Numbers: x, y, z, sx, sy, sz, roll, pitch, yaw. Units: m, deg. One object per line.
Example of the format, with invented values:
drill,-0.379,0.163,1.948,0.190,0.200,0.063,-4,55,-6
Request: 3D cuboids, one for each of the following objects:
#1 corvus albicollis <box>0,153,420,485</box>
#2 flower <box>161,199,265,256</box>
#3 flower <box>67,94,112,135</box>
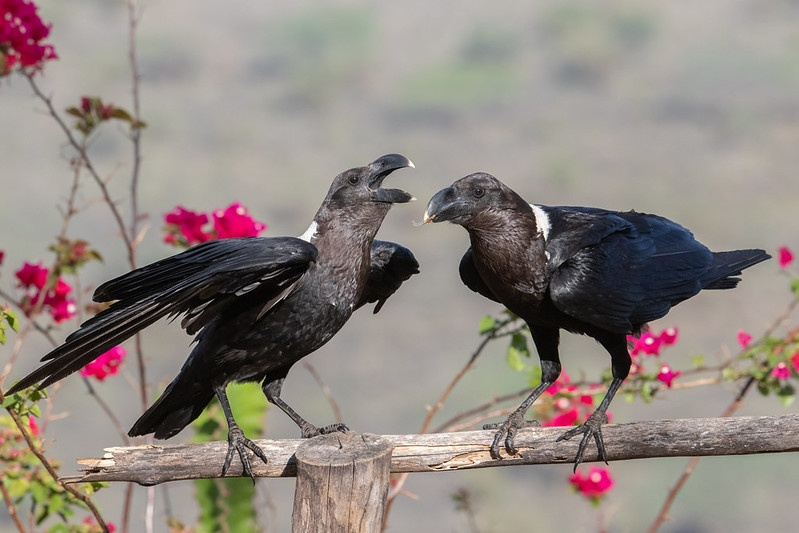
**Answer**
corvus albicollis,-0.760,0.231,5.704,1.653,1.556,0.929,-6,-44,13
flower,-0.948,-0.173,5.618,0.511,0.195,0.483,3,-2,-31
flower,-1.551,-0.766,5.590,0.198,0.215,0.146,5,-81,32
